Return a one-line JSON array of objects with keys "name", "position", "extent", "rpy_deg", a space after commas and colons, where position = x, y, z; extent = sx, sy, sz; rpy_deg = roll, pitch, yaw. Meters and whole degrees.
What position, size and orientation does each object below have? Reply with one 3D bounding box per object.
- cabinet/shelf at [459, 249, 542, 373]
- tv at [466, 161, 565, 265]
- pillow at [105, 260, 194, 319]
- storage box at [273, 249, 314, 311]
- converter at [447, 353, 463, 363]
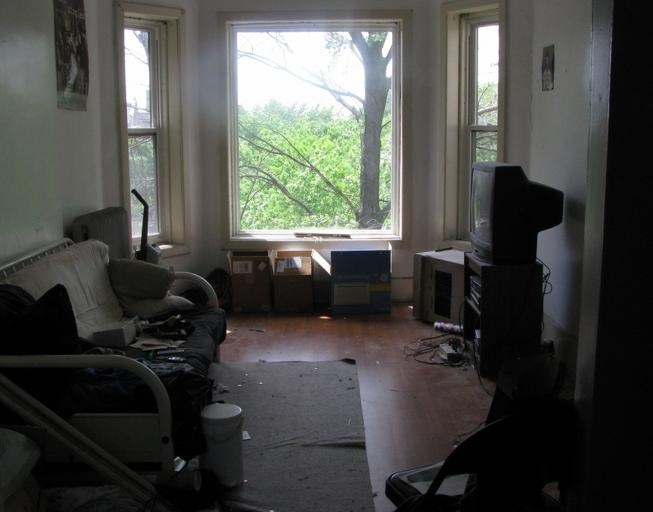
[{"name": "cabinet/shelf", "position": [1.036, 0.310, 3.289], "extent": [0.345, 0.705, 0.702], "rpy_deg": [1, 5, 5]}, {"name": "tv", "position": [1.118, -0.302, 3.579], "extent": [0.543, 0.638, 0.613], "rpy_deg": [-2, 9, 1]}, {"name": "pillow", "position": [-1.123, 0.199, 3.425], "extent": [0.331, 0.406, 0.117], "rpy_deg": [-9, 11, 11]}, {"name": "storage box", "position": [-0.279, 0.227, 5.109], "extent": [0.423, 0.644, 0.449], "rpy_deg": [0, 5, 0]}, {"name": "converter", "position": [0.855, 0.678, 3.733], "extent": [0.068, 0.050, 0.070], "rpy_deg": [-1, 4, 4]}]
